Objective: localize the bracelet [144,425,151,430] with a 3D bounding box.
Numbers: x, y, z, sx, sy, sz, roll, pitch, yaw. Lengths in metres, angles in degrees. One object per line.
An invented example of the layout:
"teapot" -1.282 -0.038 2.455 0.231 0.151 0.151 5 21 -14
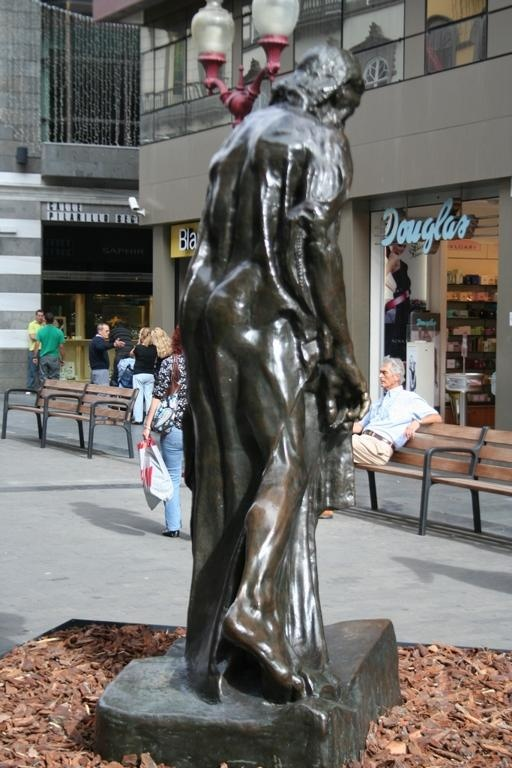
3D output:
"bracelet" -1.003 0.397 7.294 0.034 0.040 0.039 0 2 -7

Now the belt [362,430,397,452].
"belt" 1.347 0.577 8.622 0.243 0.066 0.242 37 -7 -25

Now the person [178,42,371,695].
"person" 0.076 -0.119 2.630 0.662 2.139 0.784 1 0 -6

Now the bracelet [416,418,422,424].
"bracelet" 1.783 0.394 8.589 0.045 0.051 0.016 -1 -7 2

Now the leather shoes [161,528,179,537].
"leather shoes" -0.775 1.360 7.271 0.067 0.070 0.143 -5 9 -42

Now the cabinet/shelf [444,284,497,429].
"cabinet/shelf" 4.650 -0.811 17.009 1.043 3.424 2.245 1 0 16

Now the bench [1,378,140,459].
"bench" -3.437 0.527 13.994 1.815 1.215 4.519 1 0 -21

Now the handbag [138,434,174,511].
"handbag" -0.885 0.806 7.010 0.290 0.594 0.415 1 0 -7
